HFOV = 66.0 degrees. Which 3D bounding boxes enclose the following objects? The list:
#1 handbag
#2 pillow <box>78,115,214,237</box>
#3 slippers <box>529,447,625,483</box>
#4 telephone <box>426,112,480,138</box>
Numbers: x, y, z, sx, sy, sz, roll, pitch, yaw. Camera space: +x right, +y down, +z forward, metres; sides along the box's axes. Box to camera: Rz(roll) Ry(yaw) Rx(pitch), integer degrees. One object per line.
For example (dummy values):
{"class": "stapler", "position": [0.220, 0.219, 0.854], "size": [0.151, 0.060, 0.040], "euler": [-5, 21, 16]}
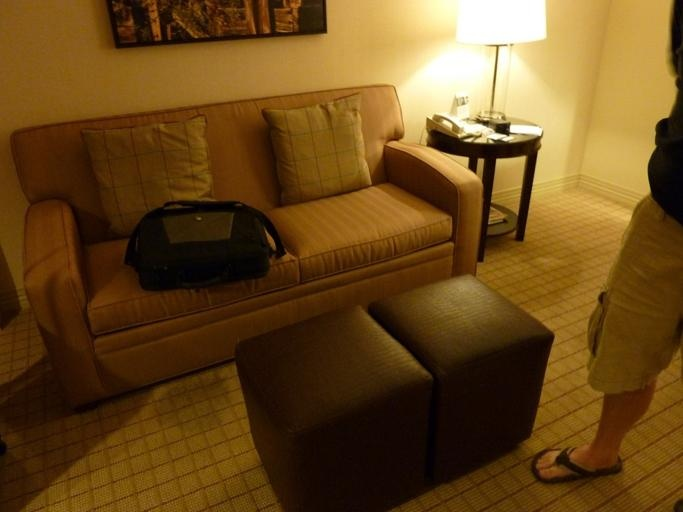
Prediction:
{"class": "handbag", "position": [-0.624, -0.069, 2.391], "size": [0.706, 0.252, 0.418], "euler": [-11, 31, -12]}
{"class": "pillow", "position": [-0.958, -0.368, 2.544], "size": [0.485, 0.482, 0.170], "euler": [-13, 10, -17]}
{"class": "slippers", "position": [0.883, 0.806, 2.027], "size": [0.335, 0.093, 0.147], "euler": [-3, 47, 13]}
{"class": "telephone", "position": [0.678, -0.778, 3.157], "size": [0.171, 0.075, 0.221], "euler": [-24, 44, -34]}
